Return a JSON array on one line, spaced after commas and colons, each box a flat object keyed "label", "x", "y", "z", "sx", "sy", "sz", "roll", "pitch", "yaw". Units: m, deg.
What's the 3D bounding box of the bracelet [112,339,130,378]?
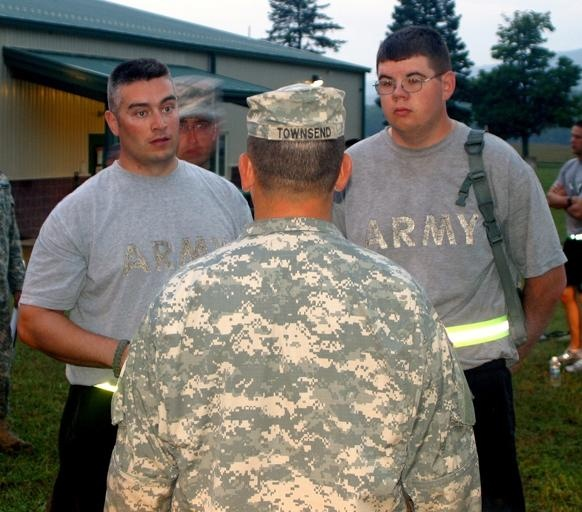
[{"label": "bracelet", "x": -0.766, "y": 0.455, "z": 4.033, "sx": 0.050, "sy": 0.133, "sz": 0.121, "roll": 13, "pitch": -24, "yaw": -6}]

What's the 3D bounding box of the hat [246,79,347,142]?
[{"label": "hat", "x": 0.035, "y": -0.509, "z": 3.257, "sx": 0.260, "sy": 0.129, "sz": 0.257, "roll": 2, "pitch": 10, "yaw": 20}]

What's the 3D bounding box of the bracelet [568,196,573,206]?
[{"label": "bracelet", "x": 2.647, "y": -0.519, "z": 8.641, "sx": 0.022, "sy": 0.089, "sz": 0.062, "roll": -3, "pitch": 11, "yaw": -10}]
